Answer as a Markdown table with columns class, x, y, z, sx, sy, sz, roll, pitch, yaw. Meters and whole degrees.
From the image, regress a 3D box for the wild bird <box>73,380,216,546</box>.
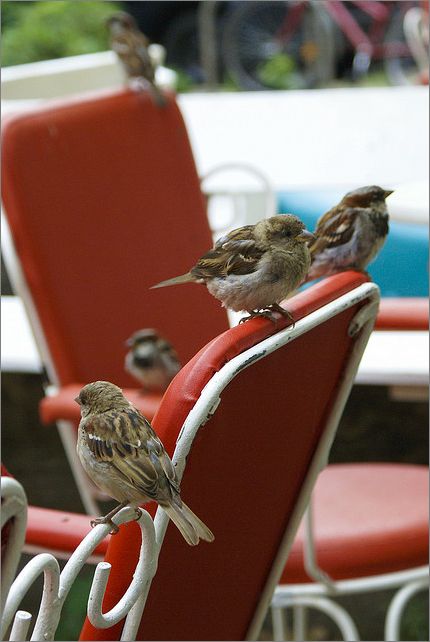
| class | x | y | z | sx | sy | sz | roll | pitch | yaw |
| --- | --- | --- | --- | --- | --- | --- | --- | --- | --- |
| wild bird | -0.085 | 0.154 | 0.870 | 0.196 | 0.146 | 0.097 | 9 | 13 | 41 |

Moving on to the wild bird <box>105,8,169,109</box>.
| class | x | y | z | sx | sy | sz | roll | pitch | yaw |
| --- | --- | --- | --- | --- | --- | --- | --- | --- | --- |
| wild bird | -0.207 | -0.694 | 2.084 | 0.091 | 0.278 | 0.099 | -18 | 47 | 6 |

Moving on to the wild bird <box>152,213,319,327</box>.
| class | x | y | z | sx | sy | sz | roll | pitch | yaw |
| --- | --- | --- | --- | --- | --- | --- | --- | --- | --- |
| wild bird | 0.043 | -0.117 | 1.508 | 0.317 | 0.218 | 0.187 | 15 | 20 | 36 |

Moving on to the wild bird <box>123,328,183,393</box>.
| class | x | y | z | sx | sy | sz | roll | pitch | yaw |
| --- | --- | --- | --- | --- | --- | --- | --- | --- | --- |
| wild bird | -0.179 | 0.110 | 2.066 | 0.093 | 0.126 | 0.123 | -43 | 59 | -10 |
